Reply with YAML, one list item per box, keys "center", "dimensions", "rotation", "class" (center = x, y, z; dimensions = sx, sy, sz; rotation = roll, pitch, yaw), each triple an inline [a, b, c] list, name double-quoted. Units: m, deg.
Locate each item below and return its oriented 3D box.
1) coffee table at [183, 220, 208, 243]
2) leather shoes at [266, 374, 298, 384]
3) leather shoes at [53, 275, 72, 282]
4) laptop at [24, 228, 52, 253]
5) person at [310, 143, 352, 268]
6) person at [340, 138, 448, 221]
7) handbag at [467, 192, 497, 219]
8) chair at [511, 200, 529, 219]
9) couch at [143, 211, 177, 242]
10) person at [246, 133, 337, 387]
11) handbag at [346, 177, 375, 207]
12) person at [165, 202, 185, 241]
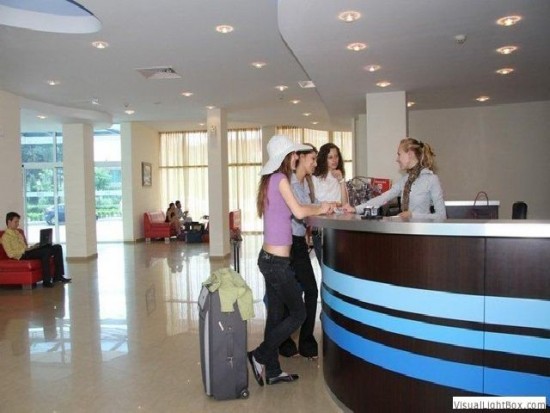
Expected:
- center: [-2.569, 0.804, 13.563]
  dimensions: [0.670, 0.653, 0.677]
  rotation: [1, 2, -4]
  class: "coffee table"
- center: [0.072, 1.686, 4.169]
  dimensions: [0.294, 0.100, 0.117]
  rotation: [-4, -4, -15]
  class: "leather shoes"
- center: [-4.193, 1.445, 8.288]
  dimensions: [0.367, 0.164, 0.121]
  rotation: [-1, 0, -18]
  class: "leather shoes"
- center: [-4.476, 0.648, 8.087]
  dimensions: [0.350, 0.379, 0.533]
  rotation: [10, -2, 5]
  class: "laptop"
- center: [0.672, 0.037, 5.333]
  dimensions: [0.505, 1.816, 0.480]
  rotation: [-7, 29, -6]
  class: "person"
- center: [1.254, -0.334, 4.553]
  dimensions: [1.070, 1.086, 0.831]
  rotation: [1, 5, 13]
  class: "person"
- center: [2.897, 0.015, 5.772]
  dimensions: [0.377, 0.476, 0.367]
  rotation: [-2, 5, 27]
  class: "handbag"
- center: [4.077, 0.075, 6.958]
  dimensions: [0.191, 0.273, 0.271]
  rotation: [-3, 2, 24]
  class: "chair"
- center: [-3.901, 0.694, 14.532]
  dimensions: [0.809, 1.034, 1.570]
  rotation: [-1, -1, 0]
  class: "couch"
- center: [0.049, 0.528, 4.000]
  dimensions: [0.773, 2.446, 0.377]
  rotation: [-3, 2, 7]
  class: "person"
- center: [1.100, -0.159, 5.542]
  dimensions: [0.408, 0.417, 0.213]
  rotation: [-3, 12, -16]
  class: "handbag"
- center: [-3.429, 0.456, 14.469]
  dimensions: [0.642, 1.238, 0.546]
  rotation: [-3, -3, 34]
  class: "person"
